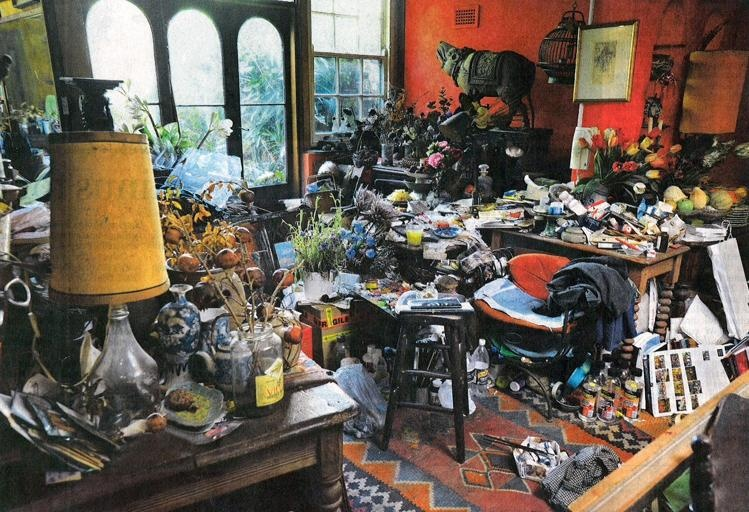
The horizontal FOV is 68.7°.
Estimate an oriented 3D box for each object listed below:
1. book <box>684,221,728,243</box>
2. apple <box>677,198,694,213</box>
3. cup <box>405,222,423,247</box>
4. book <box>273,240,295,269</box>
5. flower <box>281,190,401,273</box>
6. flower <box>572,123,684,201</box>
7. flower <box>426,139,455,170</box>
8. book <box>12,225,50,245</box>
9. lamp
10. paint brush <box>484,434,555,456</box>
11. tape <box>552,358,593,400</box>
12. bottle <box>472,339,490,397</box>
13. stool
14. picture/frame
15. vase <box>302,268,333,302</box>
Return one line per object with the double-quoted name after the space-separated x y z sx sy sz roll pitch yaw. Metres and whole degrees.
2.518 -0.208 4.176 0.203 0.068 0.197 -7 11 -31 "book"
2.442 -0.390 4.303 0.104 0.104 0.104 -8 17 12 "apple"
0.298 -0.142 4.063 0.139 0.157 0.142 0 5 0 "cup"
-0.747 -0.015 4.497 0.170 0.222 0.016 -26 17 -36 "book"
-0.251 -0.161 4.142 0.714 0.500 0.726 -2 20 -5 "flower"
2.094 -0.776 4.571 0.815 0.577 0.678 3 15 21 "flower"
0.612 -0.946 5.161 0.249 0.263 0.345 -4 14 -7 "flower"
-1.611 -0.092 2.576 0.143 0.044 0.112 -5 24 -40 "book"
-1.032 0.058 2.127 0.422 1.054 0.198 -10 16 -27 "lamp"
0.892 1.180 3.394 0.353 0.049 0.052 3 34 33 "paint brush"
1.361 0.867 3.773 0.115 0.299 0.229 33 31 17 "tape"
0.748 0.805 3.870 0.164 0.486 0.164 -3 44 2 "bottle"
0.341 0.814 3.496 0.737 0.817 0.701 5 -3 -16 "stool"
1.952 -1.632 4.557 0.081 0.767 0.660 -15 19 -37 "picture/frame"
-0.410 0.219 3.972 0.232 0.179 0.174 -3 9 -31 "vase"
